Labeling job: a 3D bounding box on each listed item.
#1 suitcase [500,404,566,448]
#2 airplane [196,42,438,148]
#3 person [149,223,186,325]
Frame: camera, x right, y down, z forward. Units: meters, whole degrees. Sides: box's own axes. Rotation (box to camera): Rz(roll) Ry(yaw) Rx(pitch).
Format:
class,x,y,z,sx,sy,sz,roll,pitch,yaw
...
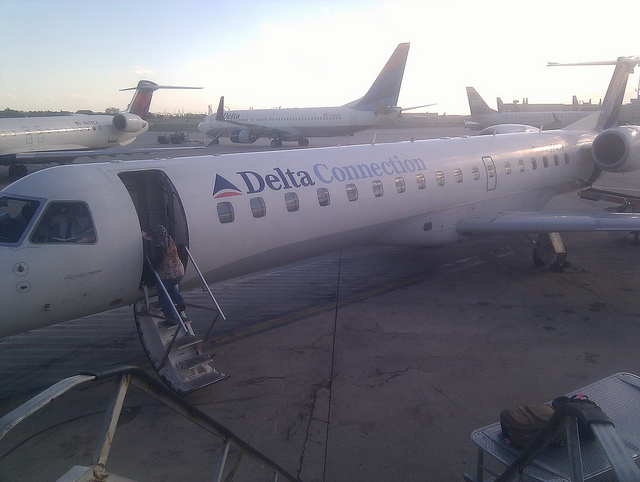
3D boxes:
class,x,y,z,sx,sy,sz,roll,pitch,yaw
suitcase,2.417,2.158,4.954,0.848,0.285,0.572,1,-2,-22
airplane,-1.748,-15.456,52.810,22.607,7.538,22.474,5,16,33
person,-3.230,0.752,8.851,0.607,2.037,0.742,-4,16,-2
